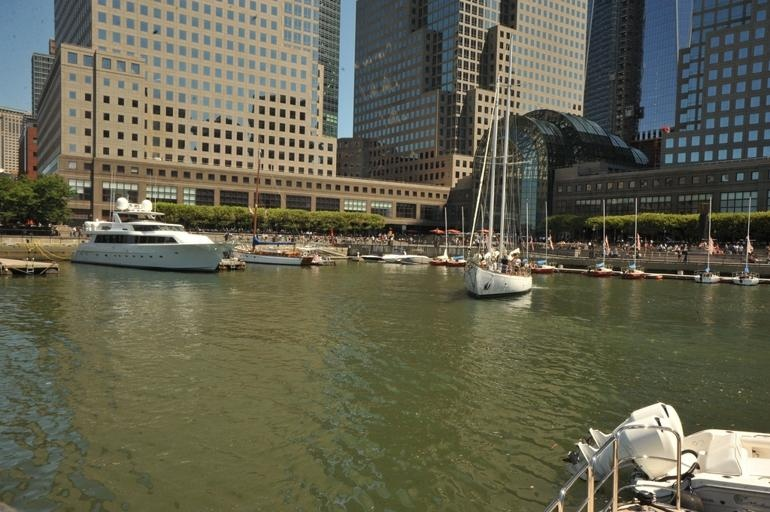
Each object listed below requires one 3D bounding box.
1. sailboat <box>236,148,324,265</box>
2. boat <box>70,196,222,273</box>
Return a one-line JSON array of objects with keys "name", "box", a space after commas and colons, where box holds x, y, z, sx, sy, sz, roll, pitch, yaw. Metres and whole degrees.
[{"name": "sailboat", "box": [-19.543, -7.097, 114.991, 15.784, 16.808, 3.950, 5, 10, 20]}, {"name": "boat", "box": [-35.515, -3.015, 98.198, 25.862, 9.047, 9.222, 2, 3, 27]}]
